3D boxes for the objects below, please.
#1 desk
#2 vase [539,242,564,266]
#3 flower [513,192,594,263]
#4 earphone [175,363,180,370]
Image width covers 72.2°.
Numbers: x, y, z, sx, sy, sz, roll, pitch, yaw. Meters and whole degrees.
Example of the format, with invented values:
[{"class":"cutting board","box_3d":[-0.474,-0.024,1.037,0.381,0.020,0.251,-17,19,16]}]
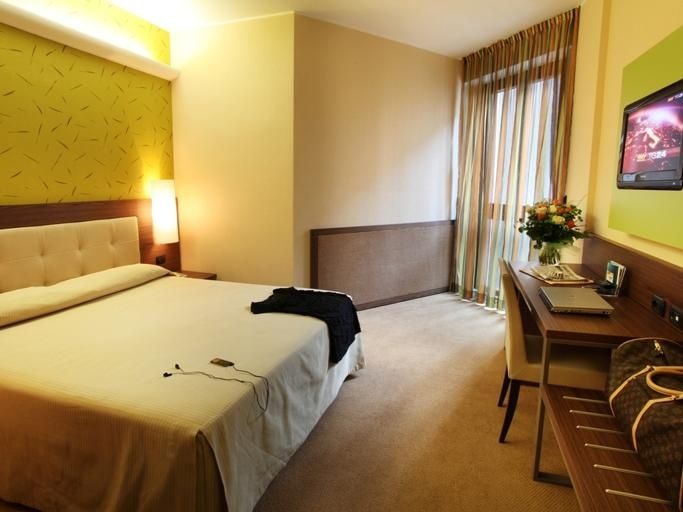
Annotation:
[{"class":"desk","box_3d":[1.390,0.628,2.552,0.336,0.458,1.176,0,8,3]},{"class":"vase","box_3d":[1.664,-0.023,3.668,0.168,0.204,0.178,-1,5,0]},{"class":"flower","box_3d":[1.682,-0.204,3.788,0.535,0.602,0.554,9,22,35]},{"class":"earphone","box_3d":[-0.917,0.611,2.622,0.022,0.009,0.032,8,18,-9]}]
